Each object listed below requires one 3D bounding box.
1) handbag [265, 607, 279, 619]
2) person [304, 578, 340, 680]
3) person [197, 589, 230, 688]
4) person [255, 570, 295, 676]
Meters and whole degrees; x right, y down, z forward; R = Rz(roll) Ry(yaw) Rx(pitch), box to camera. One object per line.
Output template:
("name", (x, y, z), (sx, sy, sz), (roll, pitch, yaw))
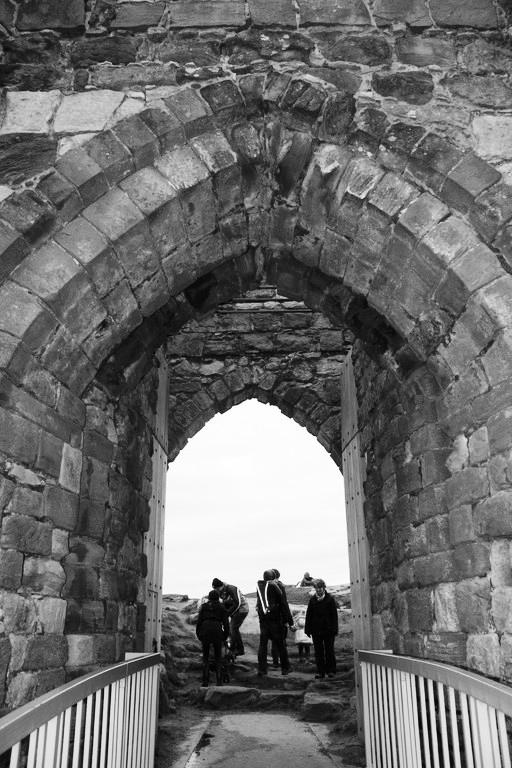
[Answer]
("handbag", (0.188, 2.813, 6.073), (0.119, 0.129, 0.031), (11, -12, -7))
("person", (0.808, 3.050, 6.186), (0.392, 1.103, 0.607), (-2, -19, 5))
("person", (-0.556, 3.178, 6.268), (0.372, 1.063, 1.061), (1, -19, -4))
("person", (0.222, 3.007, 6.227), (0.408, 1.205, 0.509), (0, -18, 0))
